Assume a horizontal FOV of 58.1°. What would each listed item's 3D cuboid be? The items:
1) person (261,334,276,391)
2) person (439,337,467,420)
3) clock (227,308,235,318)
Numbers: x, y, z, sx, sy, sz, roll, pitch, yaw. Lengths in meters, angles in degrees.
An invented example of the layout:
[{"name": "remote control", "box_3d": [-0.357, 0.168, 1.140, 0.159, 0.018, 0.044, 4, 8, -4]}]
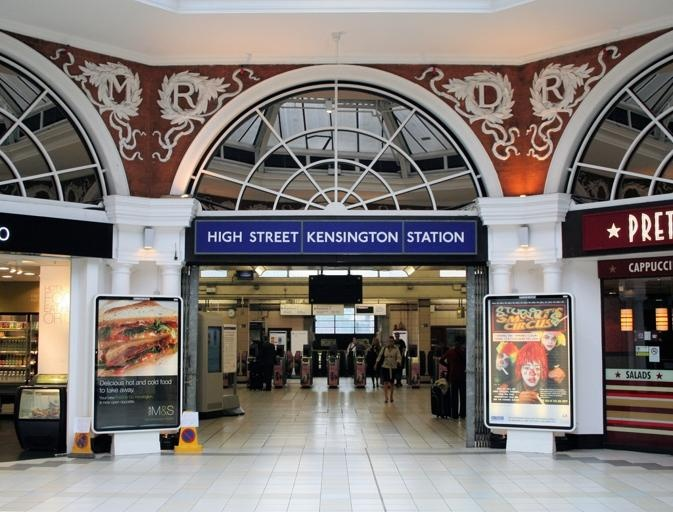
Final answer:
[{"name": "person", "box_3d": [-2.240, 3.642, 20.021, 0.434, 1.572, 1.235, 0, -8, -6]}, {"name": "person", "box_3d": [2.707, 2.754, 13.764, 0.398, 1.832, 0.440, -2, -9, 10]}, {"name": "clock", "box_3d": [-4.029, 2.207, 23.278, 0.278, 0.300, 0.135, 7, -12, -44]}]
